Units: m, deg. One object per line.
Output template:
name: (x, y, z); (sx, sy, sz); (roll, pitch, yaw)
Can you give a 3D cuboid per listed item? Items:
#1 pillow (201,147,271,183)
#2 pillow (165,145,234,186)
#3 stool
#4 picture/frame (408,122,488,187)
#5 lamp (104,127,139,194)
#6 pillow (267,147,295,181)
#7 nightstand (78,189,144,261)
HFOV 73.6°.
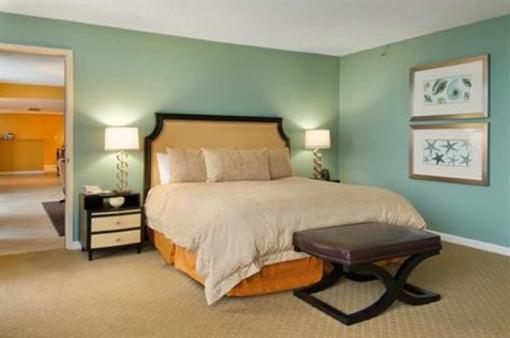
pillow: (-0.256, -0.092, 5.183); (1.103, 0.544, 0.250); (0, 22, 25)
pillow: (-0.968, -0.029, 5.065); (0.513, 0.586, 0.159); (-4, 36, 3)
stool: (1.012, 0.812, 3.638); (1.435, 0.667, 0.954); (1, -4, -28)
picture/frame: (2.945, -0.234, 5.120); (0.081, 0.897, 1.106); (3, -2, -39)
lamp: (-1.941, -0.145, 4.969); (0.425, 0.932, 0.505); (-11, 17, -42)
pillow: (0.393, -0.086, 5.472); (0.495, 0.456, 0.147); (-5, -20, -38)
nightstand: (-1.992, 0.743, 4.790); (0.787, 0.759, 0.614); (-2, 6, -39)
